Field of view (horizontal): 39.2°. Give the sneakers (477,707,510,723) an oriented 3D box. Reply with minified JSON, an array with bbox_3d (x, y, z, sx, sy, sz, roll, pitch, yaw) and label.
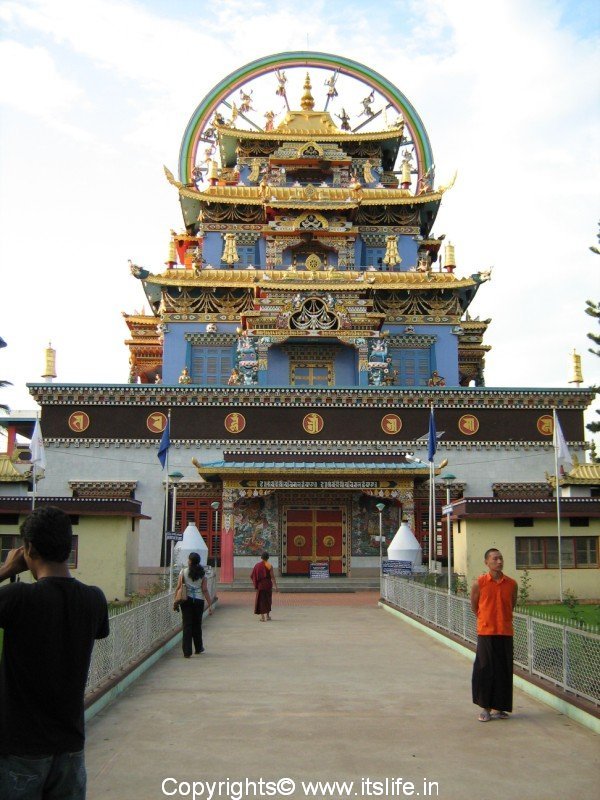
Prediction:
[{"bbox_3d":[1.939,3.150,8.451,0.135,0.164,0.413,-4,-22,17],"label":"sneakers"}]

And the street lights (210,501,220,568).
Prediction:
[{"bbox_3d":[-3.102,4.929,30.871,0.323,2.289,0.571,1,-11,-8],"label":"street lights"}]

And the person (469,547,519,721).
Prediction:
[{"bbox_3d":[1.980,2.382,8.638,0.462,1.667,0.378,-2,-11,11],"label":"person"}]
